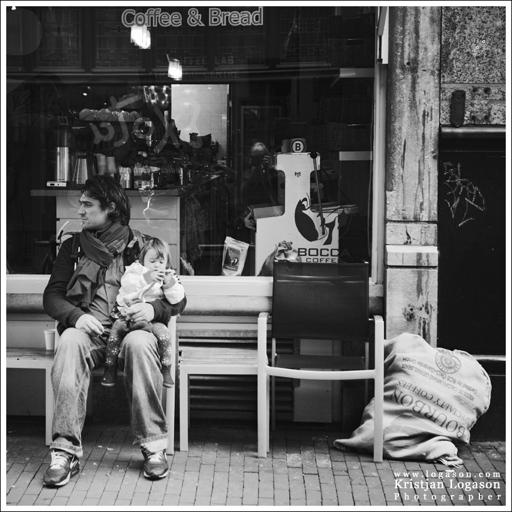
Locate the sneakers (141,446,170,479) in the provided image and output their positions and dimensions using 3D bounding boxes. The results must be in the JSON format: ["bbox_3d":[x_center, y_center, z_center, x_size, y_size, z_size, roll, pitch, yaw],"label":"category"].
[{"bbox_3d":[-0.587,1.176,4.837,0.155,0.171,0.178,0,9,0],"label":"sneakers"}]

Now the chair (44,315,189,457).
[{"bbox_3d":[-0.902,0.731,5.044,0.598,0.892,0.543,-1,6,-13],"label":"chair"}]

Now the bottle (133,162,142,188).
[{"bbox_3d":[-0.827,-0.564,5.864,0.031,0.139,0.099,5,14,11],"label":"bottle"}]

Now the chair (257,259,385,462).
[{"bbox_3d":[0.397,0.622,5.385,0.780,1.104,1.016,0,9,0],"label":"chair"}]

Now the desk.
[{"bbox_3d":[-0.790,-0.193,6.039,0.547,0.807,0.823,-10,-10,14],"label":"desk"}]

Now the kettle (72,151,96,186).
[{"bbox_3d":[-1.220,-0.621,5.966,0.183,0.247,0.202,2,-5,-18],"label":"kettle"}]

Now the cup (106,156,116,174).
[{"bbox_3d":[-1.009,-0.640,5.878,0.067,0.128,0.031,-1,9,-7],"label":"cup"}]
